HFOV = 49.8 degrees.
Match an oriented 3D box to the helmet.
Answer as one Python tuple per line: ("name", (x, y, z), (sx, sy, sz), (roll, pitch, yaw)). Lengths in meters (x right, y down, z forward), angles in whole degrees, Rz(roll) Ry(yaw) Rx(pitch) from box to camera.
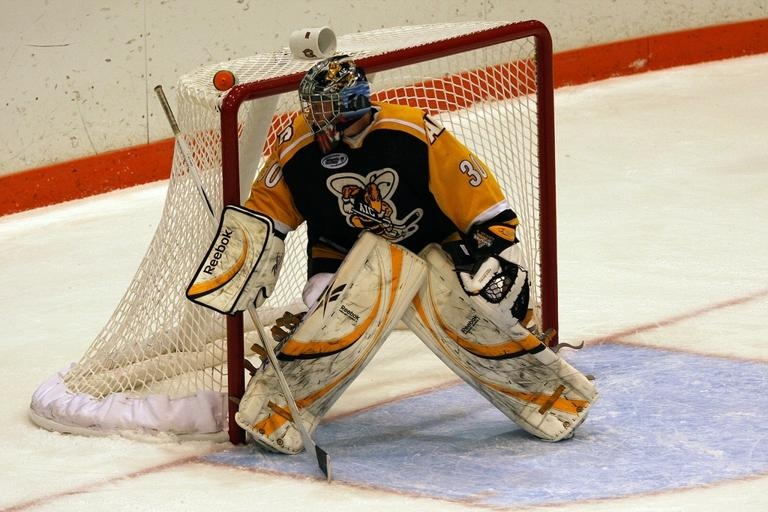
("helmet", (-0.174, -0.570, 2.888), (0.264, 0.208, 0.198), (-18, 25, -22))

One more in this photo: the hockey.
("hockey", (-0.514, 0.110, 3.015), (0.234, 1.685, 0.052), (-26, -10, -40))

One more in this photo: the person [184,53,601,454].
("person", (0.031, -0.026, 2.961), (1.459, 1.231, 0.944), (-1, 33, 24))
